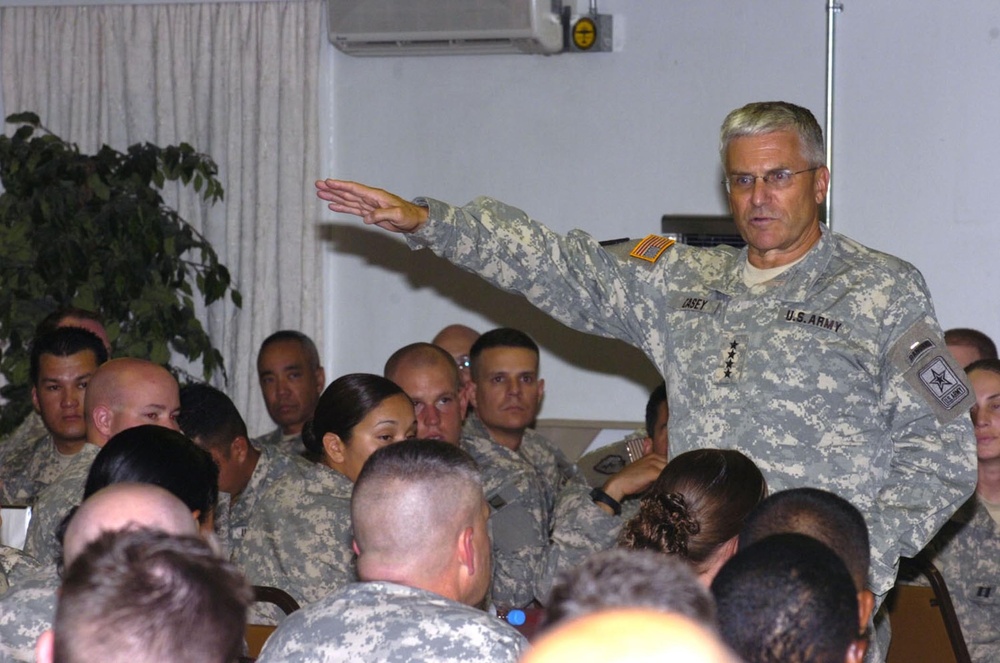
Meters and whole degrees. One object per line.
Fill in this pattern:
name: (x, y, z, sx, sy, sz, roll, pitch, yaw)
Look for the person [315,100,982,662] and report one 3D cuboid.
person: (0.666, 0.024, 3.375, 1.592, 1.341, 0.319, 2, 1, 14)
